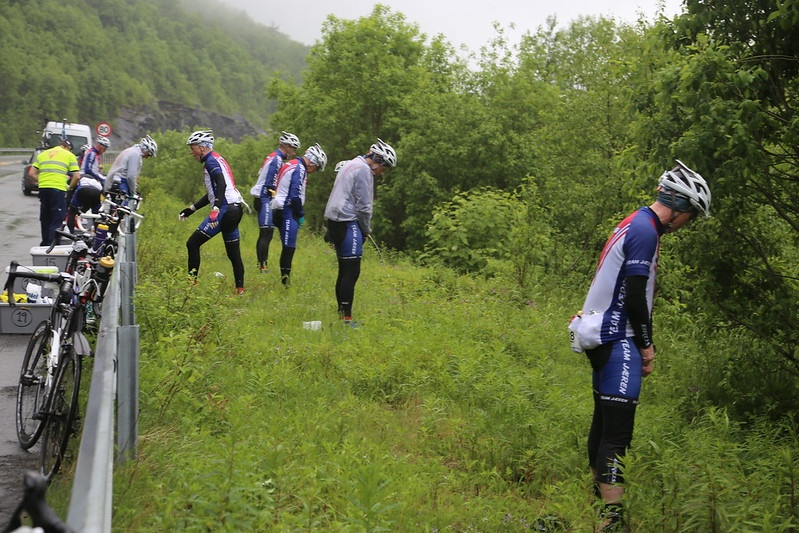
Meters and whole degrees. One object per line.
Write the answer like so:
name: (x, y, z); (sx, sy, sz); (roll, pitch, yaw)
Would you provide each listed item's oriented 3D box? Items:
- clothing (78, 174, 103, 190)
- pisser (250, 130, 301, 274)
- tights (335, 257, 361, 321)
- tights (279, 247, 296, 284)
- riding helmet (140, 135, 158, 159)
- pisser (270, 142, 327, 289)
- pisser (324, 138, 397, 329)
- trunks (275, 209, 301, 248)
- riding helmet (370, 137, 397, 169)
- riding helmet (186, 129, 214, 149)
clothing: (-6.280, -1.725, 13.615); (0.328, 0.173, 0.432); (2, 1, -4)
pisser: (-2.510, -1.372, 12.683); (0.996, 2.854, 1.243); (5, -7, -25)
tights: (-0.768, 0.332, 9.910); (0.314, 0.943, 0.528); (6, 4, -12)
tights: (-2.073, -0.034, 12.149); (0.204, 0.691, 0.619); (6, 4, -11)
riding helmet: (-4.996, -2.435, 13.252); (0.302, 0.382, 0.394); (5, 5, -25)
pisser: (-1.938, -0.946, 12.491); (1.004, 2.761, 0.911); (4, 13, -13)
pisser: (-0.646, -0.542, 10.297); (1.114, 2.872, 0.908); (2, 12, -3)
trunks: (-2.047, -0.726, 12.196); (0.536, 0.691, 0.339); (11, 6, 44)
riding helmet: (-0.284, -1.712, 10.042); (0.308, 0.543, 0.390); (-28, 4, 19)
riding helmet: (-3.183, -2.092, 10.745); (0.459, 0.241, 0.319); (-5, 11, -30)
